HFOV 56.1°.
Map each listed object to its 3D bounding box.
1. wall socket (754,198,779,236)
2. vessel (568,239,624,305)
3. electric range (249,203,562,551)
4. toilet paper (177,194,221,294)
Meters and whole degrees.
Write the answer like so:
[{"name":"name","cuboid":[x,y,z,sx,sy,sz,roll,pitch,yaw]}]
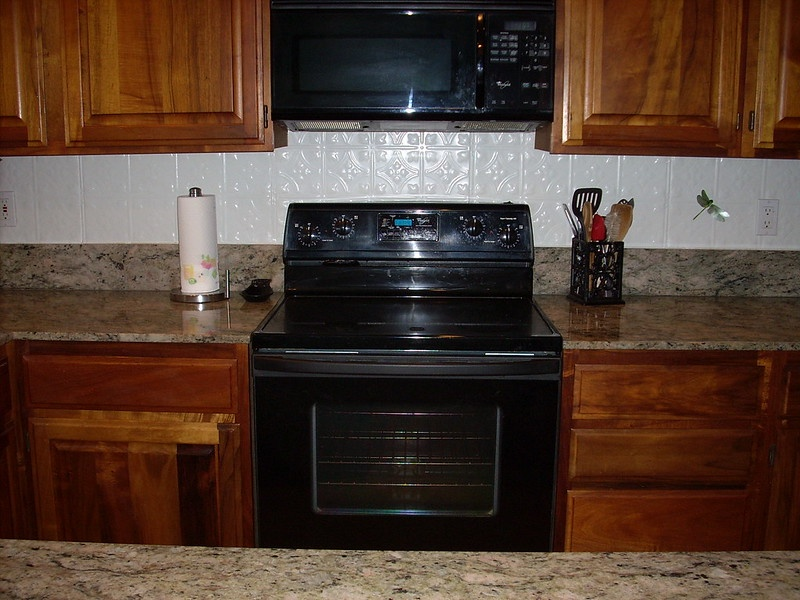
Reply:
[{"name":"wall socket","cuboid":[1.313,-0.294,2.690,0.074,0.132,0.015,-4,9,-9]},{"name":"vessel","cuboid":[0.636,-0.099,2.560,0.134,0.217,0.224,-7,10,-28]},{"name":"electric range","cuboid":[0.040,0.209,2.300,0.886,1.010,0.688,-1,9,9]},{"name":"toilet paper","cuboid":[-0.674,-0.178,2.484,0.125,0.323,0.048,-5,10,-14]}]
